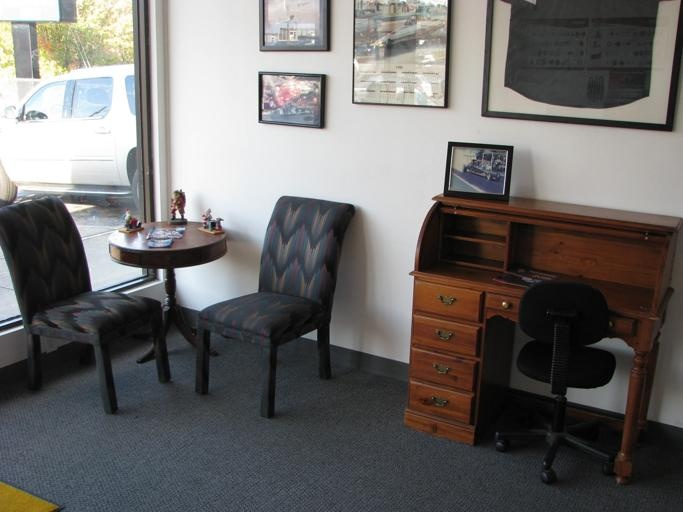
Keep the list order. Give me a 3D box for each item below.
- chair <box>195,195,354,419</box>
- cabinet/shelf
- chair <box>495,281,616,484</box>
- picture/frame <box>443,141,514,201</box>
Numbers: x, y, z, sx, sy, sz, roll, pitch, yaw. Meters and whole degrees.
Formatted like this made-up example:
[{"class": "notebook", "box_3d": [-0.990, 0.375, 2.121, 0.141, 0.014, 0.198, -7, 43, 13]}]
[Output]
[{"class": "chair", "box_3d": [-0.445, 0.265, 3.650, 0.660, 1.169, 0.953, 12, 22, 31]}, {"class": "cabinet/shelf", "box_3d": [1.133, 0.462, 3.055, 1.323, 1.349, 0.517, 7, 14, 29]}, {"class": "chair", "box_3d": [1.160, 0.615, 2.919, 0.580, 1.077, 0.419, 1, 19, 2]}, {"class": "picture/frame", "box_3d": [0.780, -0.477, 3.165, 0.311, 0.274, 0.026, 8, 2, 24]}]
